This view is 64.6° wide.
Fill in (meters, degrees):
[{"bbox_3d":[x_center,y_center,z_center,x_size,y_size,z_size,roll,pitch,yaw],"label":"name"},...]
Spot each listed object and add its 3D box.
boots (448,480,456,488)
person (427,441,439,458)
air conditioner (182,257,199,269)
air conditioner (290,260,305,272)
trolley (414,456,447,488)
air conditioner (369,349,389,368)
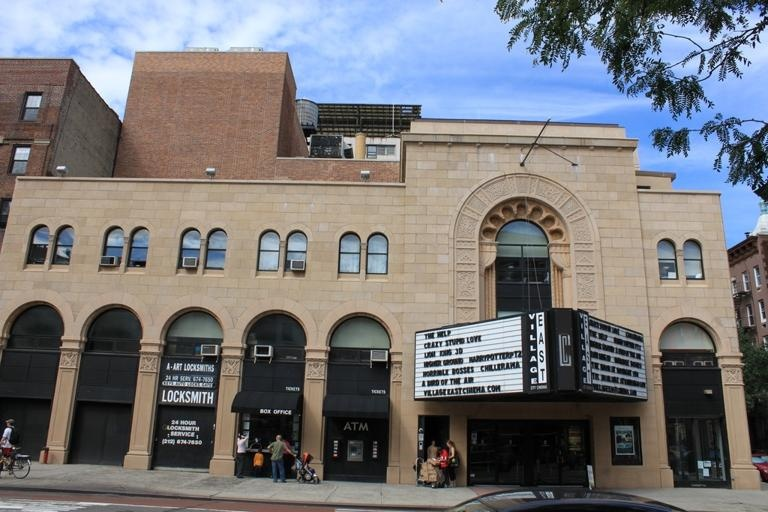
[{"bbox_3d":[3.650,12.318,32.784,0.630,0.430,0.206,21,-29,-38],"label":"boots"},{"bbox_3d":[2.659,10.593,33.070,0.624,0.948,1.293,1,-8,5],"label":"person"},{"bbox_3d":[-11.422,0.405,35.868,1.145,0.784,0.579,1,-3,5],"label":"air conditioner"},{"bbox_3d":[-5.060,0.558,35.447,1.035,0.693,0.582,0,-17,-1],"label":"air conditioner"},{"bbox_3d":[2.535,11.588,32.436,1.273,1.685,1.697,17,-32,-30],"label":"trolley"},{"bbox_3d":[-0.274,5.822,34.757,1.482,1.256,0.786,0,-23,0],"label":"air conditioner"}]
